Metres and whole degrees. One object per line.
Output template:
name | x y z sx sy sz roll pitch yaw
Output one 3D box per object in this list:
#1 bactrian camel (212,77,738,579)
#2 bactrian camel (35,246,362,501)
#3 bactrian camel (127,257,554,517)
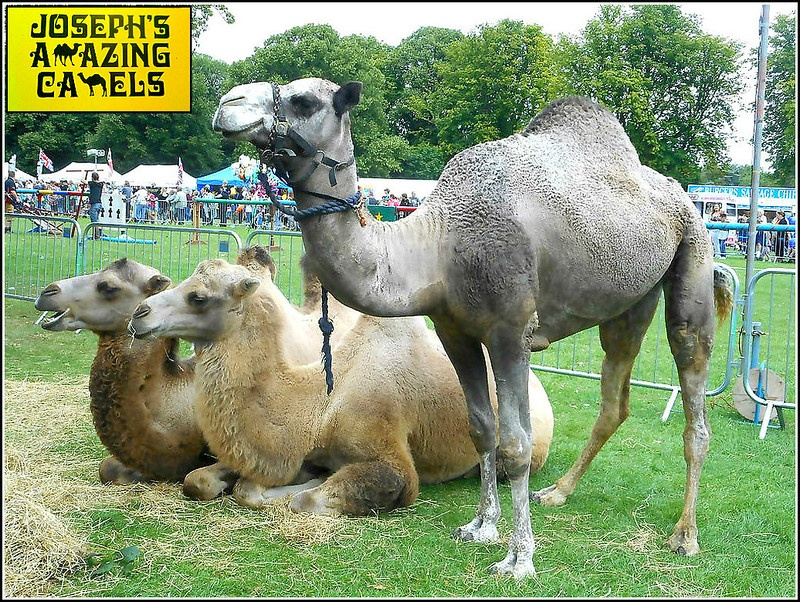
bactrian camel | 0.812 0.160 6.526 3.914 3.667 1.013 0 5 -17
bactrian camel | -1.541 0.870 8.119 1.415 2.509 3.925 -5 -4 43
bactrian camel | -0.313 0.961 7.945 4.506 2.213 1.473 4 -7 -39
